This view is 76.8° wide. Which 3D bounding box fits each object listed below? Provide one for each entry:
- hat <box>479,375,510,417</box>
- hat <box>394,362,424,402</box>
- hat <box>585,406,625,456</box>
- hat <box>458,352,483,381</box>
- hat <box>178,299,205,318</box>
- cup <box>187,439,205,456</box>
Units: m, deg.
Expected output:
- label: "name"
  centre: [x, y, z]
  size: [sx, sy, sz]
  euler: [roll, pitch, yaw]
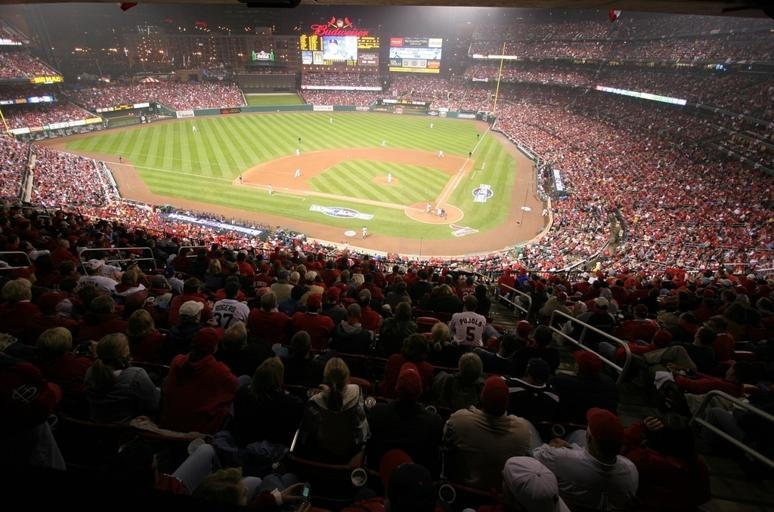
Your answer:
- label: "hat"
  centre: [1.673, 2.177, 7.696]
  size: [0.469, 0.335, 0.614]
  euler: [2, 41, 6]
- label: "hat"
  centre: [0.343, 2.005, 7.847]
  size: [0.543, 0.378, 0.730]
  euler: [3, 50, 5]
- label: "hat"
  centre: [3.206, 2.594, 7.310]
  size: [0.536, 0.345, 0.691]
  euler: [8, 37, 3]
- label: "hat"
  centre: [1.423, 1.918, 8.587]
  size: [0.443, 0.479, 0.488]
  euler: [1, 43, 5]
- label: "hat"
  centre: [-3.692, 0.997, 9.301]
  size: [0.323, 0.202, 0.407]
  euler: [14, 30, 16]
- label: "cup"
  centre: [-2.921, 2.971, 7.518]
  size: [0.261, 0.207, 0.268]
  euler: [3, 20, -1]
